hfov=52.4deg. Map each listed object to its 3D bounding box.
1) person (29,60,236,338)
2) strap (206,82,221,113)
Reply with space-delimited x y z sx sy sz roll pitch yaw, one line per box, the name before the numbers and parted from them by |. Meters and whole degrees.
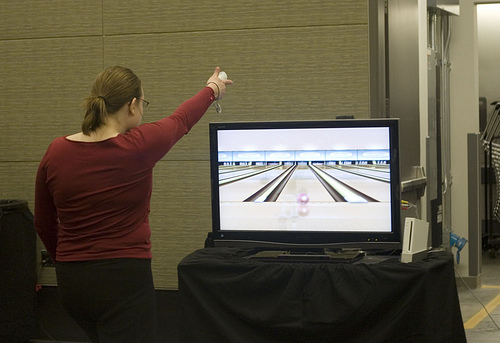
person | -0.683 0.169 2.723 0.937 1.432 0.337 -5 4 -13
strap | -0.231 -0.499 3.542 0.099 0.166 0.041 -10 6 -34
